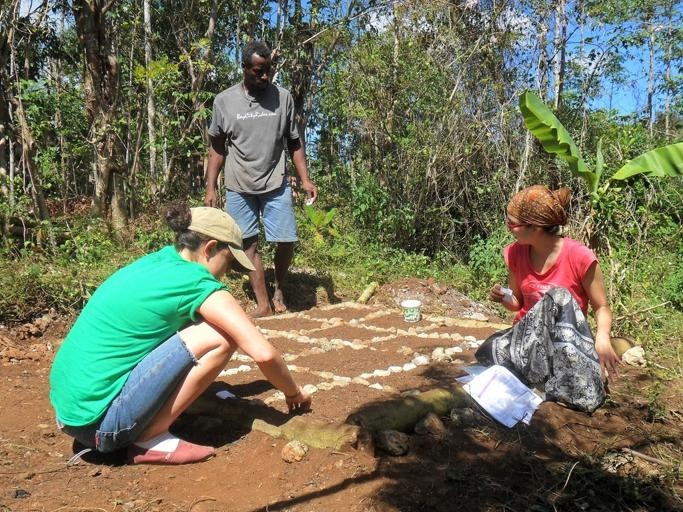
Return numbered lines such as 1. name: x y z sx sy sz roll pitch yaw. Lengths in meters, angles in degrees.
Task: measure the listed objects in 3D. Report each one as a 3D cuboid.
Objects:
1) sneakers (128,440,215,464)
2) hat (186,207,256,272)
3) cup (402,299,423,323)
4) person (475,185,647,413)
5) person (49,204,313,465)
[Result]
1. sneakers: -1.033 1.147 3.526 0.457 0.170 0.172 -1 -6 -6
2. hat: -0.778 -0.125 3.611 0.413 0.204 0.255 32 -1 -20
3. cup: 0.726 0.544 5.889 0.203 0.160 0.203 0 6 0
4. person: 1.370 0.242 3.959 0.889 1.313 1.065 -9 12 -4
5. person: -1.018 0.453 3.809 1.589 1.589 1.154 -4 7 -28
